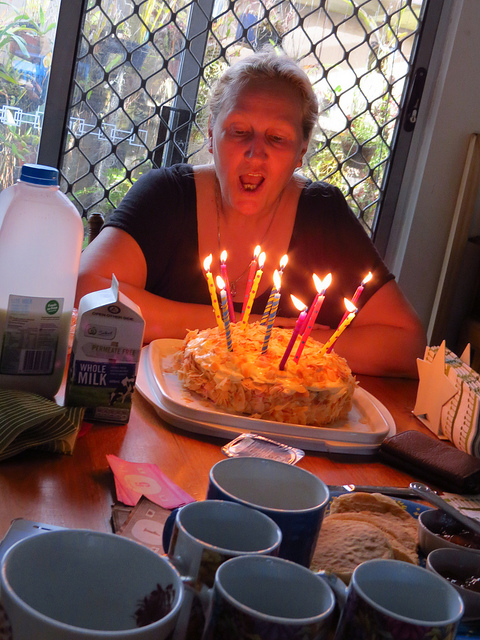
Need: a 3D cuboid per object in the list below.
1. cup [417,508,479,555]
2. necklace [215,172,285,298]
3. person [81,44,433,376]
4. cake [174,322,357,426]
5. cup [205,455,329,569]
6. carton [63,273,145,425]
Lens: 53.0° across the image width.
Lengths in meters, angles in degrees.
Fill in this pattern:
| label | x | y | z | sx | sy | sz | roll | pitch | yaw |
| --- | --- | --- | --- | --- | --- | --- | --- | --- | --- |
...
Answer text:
| label | x | y | z | sx | sy | sz | roll | pitch | yaw |
| --- | --- | --- | --- | --- | --- | --- | --- | --- | --- |
| cup | 0.207 | 0.215 | 0.490 | 0.052 | 0.023 | 0.052 | 3 | 5 | 0 |
| necklace | 0.021 | -0.262 | 1.435 | 0.137 | 0.430 | 0.039 | 11 | 26 | 8 |
| person | 0.022 | -0.329 | 1.510 | 1.175 | 0.825 | 0.645 | 4 | 18 | -7 |
| cake | 0.048 | 0.075 | 0.950 | 0.359 | 0.120 | 0.375 | 7 | 10 | -19 |
| cup | 0.013 | 0.142 | 0.398 | 0.076 | 0.073 | 0.101 | 15 | 21 | -10 |
| carton | -0.190 | 0.042 | 0.692 | 0.091 | 0.193 | 0.076 | 8 | 15 | -16 |
